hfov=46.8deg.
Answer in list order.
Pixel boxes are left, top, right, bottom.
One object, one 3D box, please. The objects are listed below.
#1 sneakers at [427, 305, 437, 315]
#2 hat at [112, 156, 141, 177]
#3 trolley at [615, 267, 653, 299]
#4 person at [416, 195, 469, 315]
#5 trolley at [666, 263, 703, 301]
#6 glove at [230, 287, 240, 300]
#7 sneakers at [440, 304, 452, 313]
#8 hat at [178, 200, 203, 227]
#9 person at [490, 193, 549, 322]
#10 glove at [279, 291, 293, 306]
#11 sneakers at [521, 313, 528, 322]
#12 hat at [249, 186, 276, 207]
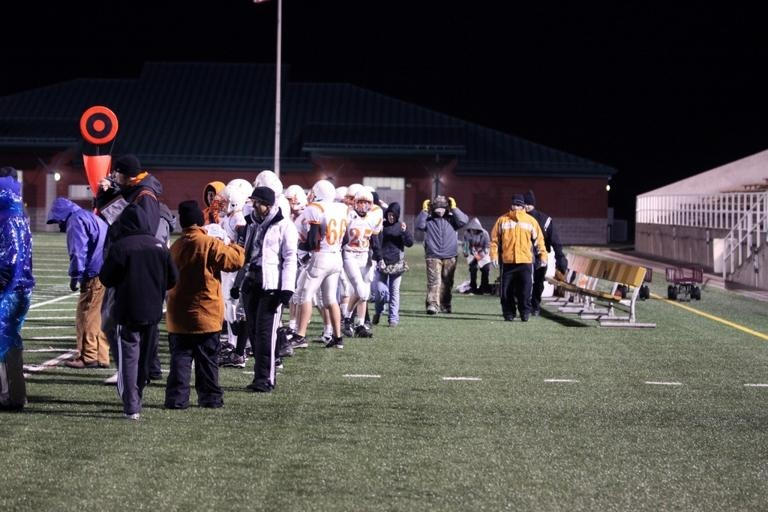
[{"bbox_3d":[1.011,1.175,18.810,0.135,0.254,0.232,-22,-30,36],"label":"sneakers"},{"bbox_3d":[-3.426,-1.222,11.980,0.286,0.216,0.302,18,17,-18],"label":"hat"},{"bbox_3d":[6.043,0.706,21.831,0.824,0.698,0.892,5,1,4],"label":"trolley"},{"bbox_3d":[1.237,-0.018,19.361,0.957,2.541,1.603,1,8,5],"label":"person"},{"bbox_3d":[7.890,0.702,23.459,0.665,0.909,1.346,2,2,3],"label":"trolley"},{"bbox_3d":[-2.078,0.526,12.653,0.099,0.153,0.142,0,-22,29],"label":"glove"},{"bbox_3d":[1.344,1.147,19.195,0.251,0.165,0.254,-2,-2,-1],"label":"sneakers"},{"bbox_3d":[-2.543,-0.587,11.889,0.291,0.345,0.333,4,17,20],"label":"hat"},{"bbox_3d":[2.763,0.066,18.308,1.071,2.554,0.815,-3,9,-27],"label":"person"},{"bbox_3d":[-1.364,0.597,12.588,0.174,0.198,0.178,-9,-17,39],"label":"glove"},{"bbox_3d":[2.859,1.264,18.149,0.123,0.133,0.135,3,-5,14],"label":"sneakers"},{"bbox_3d":[-1.666,-0.841,12.534,0.268,0.170,0.238,2,-5,-1],"label":"hat"}]
